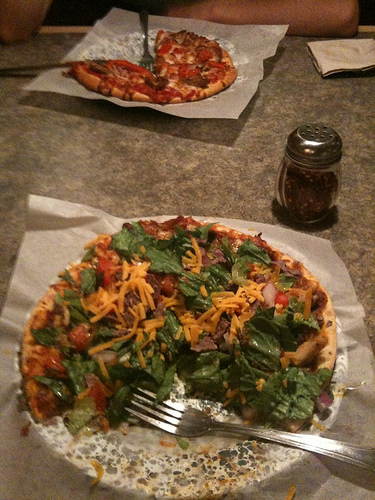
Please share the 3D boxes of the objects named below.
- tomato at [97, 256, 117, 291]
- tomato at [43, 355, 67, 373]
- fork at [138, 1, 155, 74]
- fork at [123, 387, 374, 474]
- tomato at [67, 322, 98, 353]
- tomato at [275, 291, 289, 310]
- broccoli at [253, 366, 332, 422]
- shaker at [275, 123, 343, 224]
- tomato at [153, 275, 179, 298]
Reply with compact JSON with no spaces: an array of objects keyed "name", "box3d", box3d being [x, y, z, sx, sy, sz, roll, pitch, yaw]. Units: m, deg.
[{"name":"tomato","box3d":[-0.169,0.050,0.943,0.062,0.020,0.056,4,60,-23]},{"name":"tomato","box3d":[-0.256,0.219,0.860,0.029,0.012,0.052,-28,50,-32]},{"name":"fork","box3d":[-0.210,-1.095,2.275,0.096,0.073,0.605,-1,61,-6]},{"name":"fork","box3d":[0.113,0.310,0.766,0.409,0.042,0.044,11,66,15]},{"name":"tomato","box3d":[-0.204,0.168,0.888,0.060,0.037,0.045,-27,51,-31]},{"name":"tomato","box3d":[0.183,0.097,0.879,0.027,0.016,0.029,3,46,-3]},{"name":"broccoli","box3d":[0.189,0.245,0.787,0.099,0.119,0.028,49,20,28]},{"name":"shaker","box3d":[0.320,-0.205,1.180,0.179,0.231,0.159,-9,48,-1]},{"name":"tomato","box3d":[-0.042,0.072,0.941,0.039,0.032,0.055,-17,45,-22]}]
